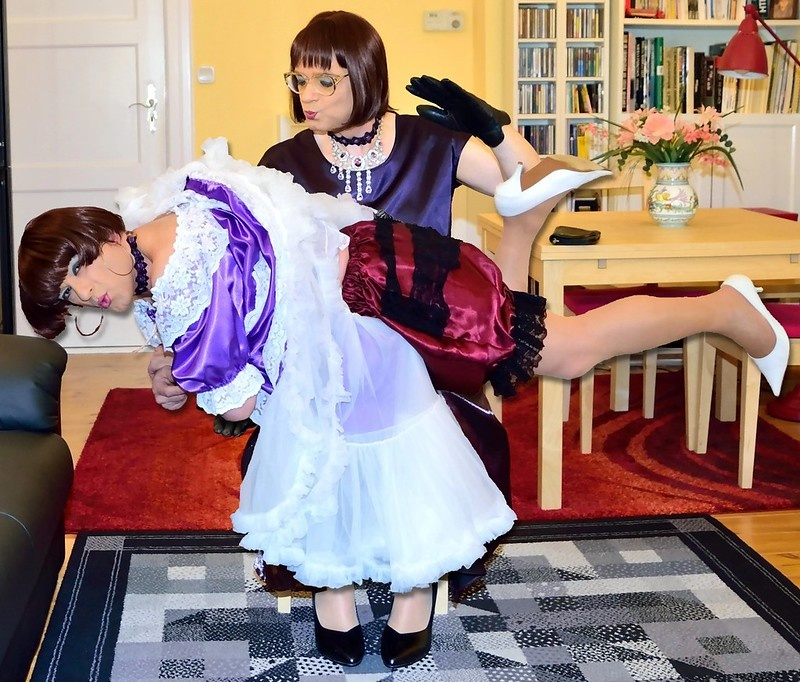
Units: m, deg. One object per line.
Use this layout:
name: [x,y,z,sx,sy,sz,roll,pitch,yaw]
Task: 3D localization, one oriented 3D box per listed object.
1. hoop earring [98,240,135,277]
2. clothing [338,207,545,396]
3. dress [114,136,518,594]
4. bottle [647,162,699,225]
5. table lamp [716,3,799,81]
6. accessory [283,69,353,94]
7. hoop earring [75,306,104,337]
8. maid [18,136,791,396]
hoop earring: [-0.508,-0.149,1.318,0.027,0.066,0.070,5,14,24]
clothing: [0.052,-0.035,1.584,0.431,0.320,0.144,34,-34,-22]
dress: [-0.128,0.050,1.535,0.597,0.885,0.482,2,26,16]
bottle: [1.081,-0.583,2.901,0.184,0.252,0.183,-5,12,1]
table lamp: [1.580,-1.353,3.293,0.188,0.327,0.612,6,15,29]
accessory: [-0.218,-0.636,1.798,0.185,0.065,0.066,9,16,35]
hoop earring: [-1.293,-0.082,3.035,0.096,0.142,0.034,3,5,6]
maid: [-0.031,-0.072,1.685,1.617,0.539,0.861,-3,4,-16]
